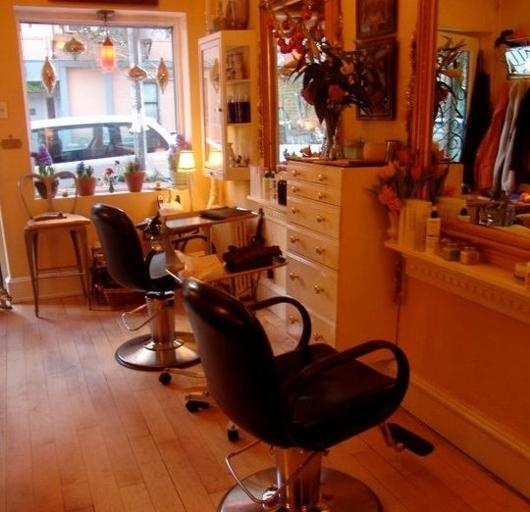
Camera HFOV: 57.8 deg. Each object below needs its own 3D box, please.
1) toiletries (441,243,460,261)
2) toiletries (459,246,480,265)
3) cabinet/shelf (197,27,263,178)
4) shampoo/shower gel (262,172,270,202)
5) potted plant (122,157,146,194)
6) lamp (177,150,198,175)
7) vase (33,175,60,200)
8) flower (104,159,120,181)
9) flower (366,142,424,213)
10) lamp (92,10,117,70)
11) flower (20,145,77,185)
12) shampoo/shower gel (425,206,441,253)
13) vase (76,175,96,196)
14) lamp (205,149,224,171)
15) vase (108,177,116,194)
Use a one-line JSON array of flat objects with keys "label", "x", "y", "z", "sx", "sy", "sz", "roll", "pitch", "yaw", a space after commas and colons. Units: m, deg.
[{"label": "toiletries", "x": 0.765, "y": -0.016, "z": 2.000, "sx": 0.070, "sy": 0.064, "sz": 0.075, "roll": -3, "pitch": 8, "yaw": -14}, {"label": "toiletries", "x": 0.823, "y": -0.003, "z": 1.917, "sx": 0.074, "sy": 0.086, "sz": 0.078, "roll": -2, "pitch": 6, "yaw": -14}, {"label": "cabinet/shelf", "x": -0.337, "y": -1.230, "z": 3.992, "sx": 0.321, "sy": 1.180, "sz": 0.741, "roll": -16, "pitch": 20, "yaw": -34}, {"label": "shampoo/shower gel", "x": 0.018, "y": -0.522, "z": 3.588, "sx": 0.062, "sy": 0.196, "sz": 0.066, "roll": 1, "pitch": 17, "yaw": 18}, {"label": "potted plant", "x": -1.264, "y": -0.785, "z": 4.636, "sx": 0.190, "sy": 0.318, "sz": 0.290, "roll": -7, "pitch": 16, "yaw": -12}, {"label": "lamp", "x": -0.724, "y": -0.859, "z": 4.412, "sx": 0.239, "sy": 0.220, "sz": 0.220, "roll": 7, "pitch": 15, "yaw": 25}, {"label": "vase", "x": -1.912, "y": -0.599, "z": 4.156, "sx": 0.241, "sy": 0.185, "sz": 0.219, "roll": -1, "pitch": 10, "yaw": -14}, {"label": "flower", "x": -1.544, "y": -0.832, "z": 4.664, "sx": 0.232, "sy": 0.200, "sz": 0.128, "roll": -1, "pitch": 4, "yaw": -24}, {"label": "flower", "x": 0.598, "y": -0.383, "z": 2.242, "sx": 0.298, "sy": 0.305, "sz": 0.296, "roll": 16, "pitch": 19, "yaw": 10}, {"label": "lamp", "x": -1.453, "y": -1.963, "z": 4.397, "sx": 0.194, "sy": 0.479, "sz": 0.262, "roll": -9, "pitch": 17, "yaw": -15}, {"label": "flower", "x": -1.892, "y": -0.829, "z": 4.230, "sx": 0.307, "sy": 0.336, "sz": 0.607, "roll": -10, "pitch": 16, "yaw": -23}, {"label": "shampoo/shower gel", "x": 0.736, "y": -0.118, "z": 2.095, "sx": 0.056, "sy": 0.192, "sz": 0.102, "roll": 1, "pitch": 17, "yaw": 17}, {"label": "vase", "x": -1.640, "y": -0.654, "z": 4.393, "sx": 0.195, "sy": 0.141, "sz": 0.173, "roll": 2, "pitch": 6, "yaw": 27}, {"label": "lamp", "x": -0.443, "y": -0.841, "z": 4.192, "sx": 0.211, "sy": 0.176, "sz": 0.204, "roll": 0, "pitch": 3, "yaw": -8}, {"label": "vase", "x": -1.474, "y": -0.677, "z": 4.580, "sx": 0.070, "sy": 0.133, "sz": 0.205, "roll": -9, "pitch": 15, "yaw": -16}]
